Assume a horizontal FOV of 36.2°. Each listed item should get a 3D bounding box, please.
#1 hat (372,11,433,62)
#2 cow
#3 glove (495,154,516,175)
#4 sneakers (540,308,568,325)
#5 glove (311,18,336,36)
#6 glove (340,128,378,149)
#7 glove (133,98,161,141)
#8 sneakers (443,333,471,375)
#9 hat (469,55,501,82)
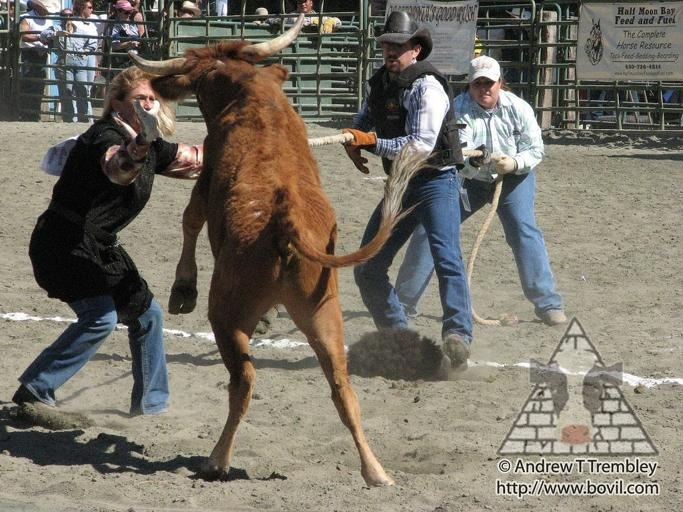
[{"bbox_3d":[0.556,-1.846,8.538,0.372,0.239,0.486,-4,-10,14],"label":"hat"},{"bbox_3d":[-0.524,-0.132,7.191,1.673,1.952,3.566,-3,43,-15],"label":"cow"},{"bbox_3d":[1.498,-0.835,9.455,0.163,0.132,0.199,-17,23,-39],"label":"glove"},{"bbox_3d":[1.982,0.574,9.801,0.314,0.104,0.126,19,-24,-7],"label":"sneakers"},{"bbox_3d":[-0.252,-3.961,17.858,0.450,0.176,0.412,1,21,-11],"label":"glove"},{"bbox_3d":[0.169,-0.927,8.224,0.220,0.085,0.161,1,4,-16],"label":"glove"},{"bbox_3d":[-1.292,-0.903,6.903,0.230,0.272,0.077,-14,0,-27],"label":"glove"},{"bbox_3d":[0.957,0.770,8.493,0.142,0.361,0.183,-9,11,18],"label":"sneakers"},{"bbox_3d":[1.325,-1.735,9.633,0.214,0.159,0.295,0,0,8],"label":"hat"}]
